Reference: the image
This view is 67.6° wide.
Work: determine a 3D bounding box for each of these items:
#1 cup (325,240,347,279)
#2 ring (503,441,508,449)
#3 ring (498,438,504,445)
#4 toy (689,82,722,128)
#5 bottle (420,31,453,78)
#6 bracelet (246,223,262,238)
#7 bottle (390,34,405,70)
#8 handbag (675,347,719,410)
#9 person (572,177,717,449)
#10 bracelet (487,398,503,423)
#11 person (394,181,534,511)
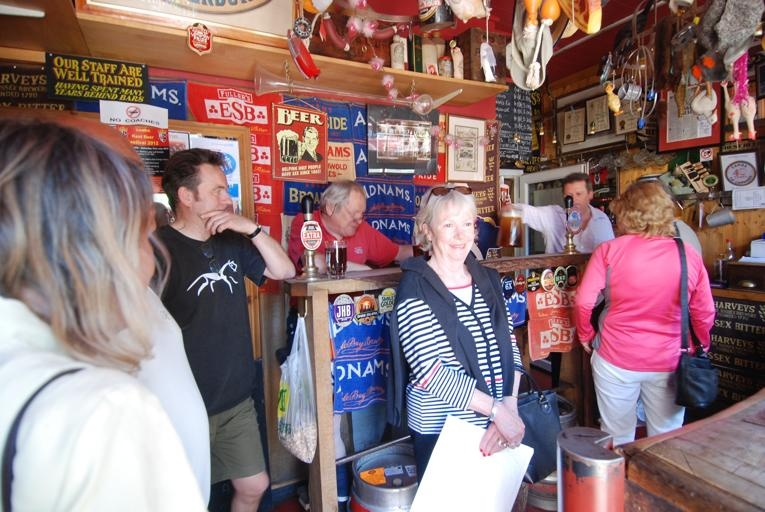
[{"bbox_3d":[-0.229,0.009,2.829,0.116,0.182,0.117,-1,4,0],"label":"cup"},{"bbox_3d":[0.539,0.832,2.518,0.025,0.025,0.018,-14,3,-12],"label":"ring"},{"bbox_3d":[0.519,0.814,2.509,0.019,0.027,0.014,-5,-10,-15],"label":"ring"},{"bbox_3d":[1.834,-0.887,3.266,0.128,0.233,0.366,0,4,28],"label":"toy"},{"bbox_3d":[0.364,-1.349,3.832,0.242,0.308,0.139,-5,5,-43],"label":"bottle"},{"bbox_3d":[-0.643,-0.131,2.848,0.058,0.016,0.058,-38,9,-38],"label":"bracelet"},{"bbox_3d":[0.096,-1.303,3.644,0.102,0.220,0.058,-2,4,-10],"label":"bottle"},{"bbox_3d":[1.665,0.644,2.999,0.197,0.279,0.159,-3,-1,-26],"label":"handbag"},{"bbox_3d":[1.525,0.500,3.328,0.656,1.824,0.420,2,18,20],"label":"person"},{"bbox_3d":[0.490,0.675,2.550,0.055,0.097,0.092,16,-30,15],"label":"bracelet"},{"bbox_3d":[0.357,0.353,2.693,0.586,1.382,0.464,-1,4,14],"label":"person"}]
